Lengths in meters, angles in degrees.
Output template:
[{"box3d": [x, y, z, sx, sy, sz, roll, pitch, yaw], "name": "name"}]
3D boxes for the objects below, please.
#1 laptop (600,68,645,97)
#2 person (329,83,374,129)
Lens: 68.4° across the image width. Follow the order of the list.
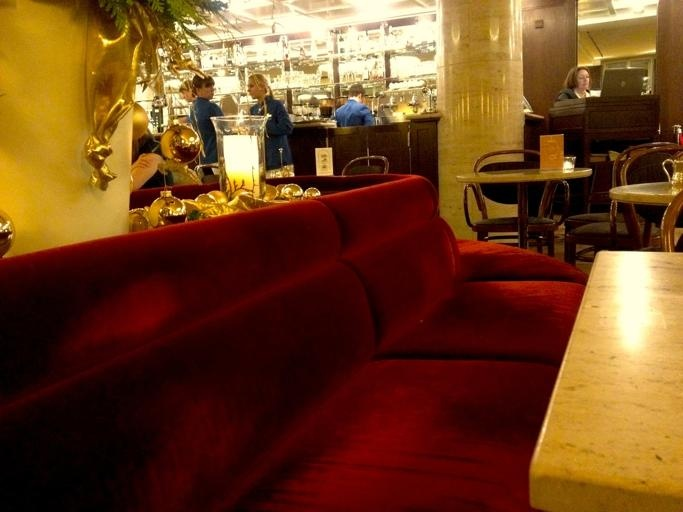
[{"box3d": [3.311, -2.025, 5.872, 0.506, 0.309, 0.341, 1, 14, 11], "name": "laptop"}, {"box3d": [0.169, -1.980, 6.627, 0.485, 0.535, 0.948, -2, 14, -1], "name": "person"}]
